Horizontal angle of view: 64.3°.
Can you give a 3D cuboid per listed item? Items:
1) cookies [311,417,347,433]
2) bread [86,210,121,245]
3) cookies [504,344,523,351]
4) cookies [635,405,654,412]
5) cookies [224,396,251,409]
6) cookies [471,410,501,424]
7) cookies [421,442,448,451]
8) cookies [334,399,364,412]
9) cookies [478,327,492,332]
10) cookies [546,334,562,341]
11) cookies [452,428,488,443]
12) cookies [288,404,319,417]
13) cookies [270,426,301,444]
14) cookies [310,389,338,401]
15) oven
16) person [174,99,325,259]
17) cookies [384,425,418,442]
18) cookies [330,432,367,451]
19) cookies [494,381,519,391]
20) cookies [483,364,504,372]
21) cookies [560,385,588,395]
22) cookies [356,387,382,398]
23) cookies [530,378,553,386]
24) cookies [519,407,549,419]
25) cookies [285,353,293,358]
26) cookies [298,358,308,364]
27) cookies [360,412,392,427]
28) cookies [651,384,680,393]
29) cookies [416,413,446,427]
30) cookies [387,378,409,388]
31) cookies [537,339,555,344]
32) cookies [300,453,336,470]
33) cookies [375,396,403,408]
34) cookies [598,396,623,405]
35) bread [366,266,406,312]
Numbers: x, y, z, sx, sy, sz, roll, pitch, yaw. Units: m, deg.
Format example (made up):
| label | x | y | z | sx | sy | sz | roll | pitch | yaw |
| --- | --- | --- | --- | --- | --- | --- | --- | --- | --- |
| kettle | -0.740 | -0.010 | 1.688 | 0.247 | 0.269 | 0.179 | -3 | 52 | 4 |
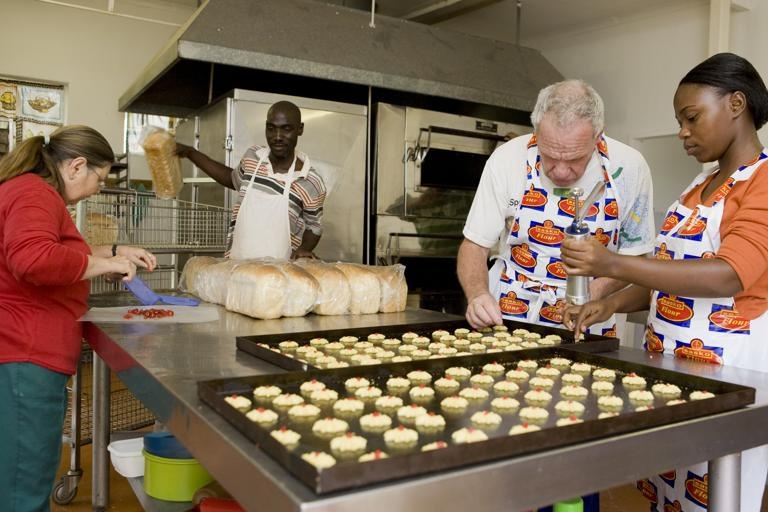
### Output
| label | x | y | z | sx | sy | sz | roll | pitch | yaw |
| --- | --- | --- | --- | --- | --- | --- | --- | --- | --- |
| cookies | -0.131 | 0.414 | 1.520 | 0.045 | 0.016 | 0.048 | -4 | -1 | 32 |
| bread | -1.629 | -0.145 | 3.556 | 0.221 | 0.204 | 0.229 | -2 | -3 | 39 |
| cookies | 0.446 | 0.316 | 2.102 | 0.034 | 0.012 | 0.032 | 0 | -2 | -31 |
| cookies | 0.677 | 0.398 | 1.591 | 0.030 | 0.008 | 0.029 | -3 | -2 | 35 |
| cookies | -0.376 | 0.376 | 1.575 | 0.041 | 0.013 | 0.040 | 12 | 2 | 6 |
| cookies | 0.265 | 0.418 | 1.579 | 0.041 | 0.012 | 0.040 | 0 | -3 | -37 |
| cookies | 0.116 | 0.442 | 1.415 | 0.044 | 0.014 | 0.043 | -6 | -2 | 23 |
| cookies | -0.094 | 0.395 | 1.609 | 0.044 | 0.016 | 0.042 | 0 | 1 | 6 |
| cookies | 0.392 | 0.286 | 2.347 | 0.030 | 0.007 | 0.029 | 1 | 7 | -41 |
| cookies | 0.609 | 0.296 | 2.195 | 0.041 | 0.016 | 0.013 | 0 | -8 | 3 |
| cookies | 0.210 | 0.438 | 1.500 | 0.088 | 0.022 | 0.072 | 1 | 8 | 7 |
| cookies | -0.204 | 0.394 | 1.579 | 0.042 | 0.013 | 0.041 | 0 | 1 | 31 |
| cookies | -0.230 | 0.431 | 1.469 | 0.045 | 0.015 | 0.045 | 9 | 3 | 41 |
| cookies | -0.159 | 0.373 | 1.660 | 0.038 | 0.014 | 0.038 | 0 | -1 | -42 |
| oven | 0.387 | -0.459 | 4.066 | 1.409 | 1.176 | 0.732 | 2 | -3 | -26 |
| person | -0.613 | -0.431 | 3.452 | 0.565 | 0.865 | 0.359 | -4 | 9 | -23 |
| cookies | 0.043 | 0.432 | 1.500 | 0.044 | 0.015 | 0.042 | -4 | -3 | 36 |
| cookies | -0.083 | 0.447 | 1.461 | 0.079 | 0.025 | 0.080 | 6 | 10 | 39 |
| cookies | 0.353 | 0.378 | 1.761 | 0.036 | 0.013 | 0.035 | 0 | -1 | -17 |
| cookies | 0.336 | 0.347 | 1.887 | 0.033 | 0.013 | 0.032 | 0 | 0 | -42 |
| cookies | 0.538 | 0.384 | 1.738 | 0.039 | 0.014 | 0.037 | -1 | -3 | -17 |
| cookies | -0.042 | 0.377 | 1.692 | 0.036 | 0.012 | 0.037 | -2 | -2 | 43 |
| cookies | 0.465 | 0.374 | 1.796 | 0.034 | 0.010 | 0.032 | 0 | -1 | -27 |
| cookies | 0.395 | 0.416 | 1.613 | 0.039 | 0.011 | 0.037 | 0 | -1 | -29 |
| cookies | -0.301 | 0.315 | 1.939 | 0.027 | 0.006 | 0.028 | 1 | 2 | 19 |
| cookies | -0.242 | 0.319 | 1.842 | 0.023 | 0.005 | 0.024 | 4 | 1 | -20 |
| cookies | -0.022 | 0.420 | 1.555 | 0.044 | 0.013 | 0.042 | 0 | 3 | 12 |
| cookies | 0.803 | 0.377 | 1.734 | 0.040 | 0.011 | 0.037 | -3 | 2 | -35 |
| cookies | 0.120 | 0.419 | 1.558 | 0.040 | 0.014 | 0.039 | 2 | -4 | -36 |
| cookies | 0.042 | 0.362 | 1.760 | 0.033 | 0.010 | 0.033 | 0 | 3 | 21 |
| cookies | 0.579 | 0.307 | 2.179 | 0.026 | 0.010 | 0.025 | -4 | 2 | -33 |
| cookies | -0.144 | 0.461 | 1.388 | 0.076 | 0.023 | 0.072 | -3 | 8 | -21 |
| cookies | 0.015 | 0.394 | 1.644 | 0.037 | 0.012 | 0.038 | -1 | 0 | 41 |
| cookies | 0.618 | 0.397 | 1.668 | 0.038 | 0.012 | 0.030 | -2 | 4 | 20 |
| bread | 0.020 | 0.138 | 2.817 | 0.223 | 0.197 | 0.201 | -1 | 8 | -10 |
